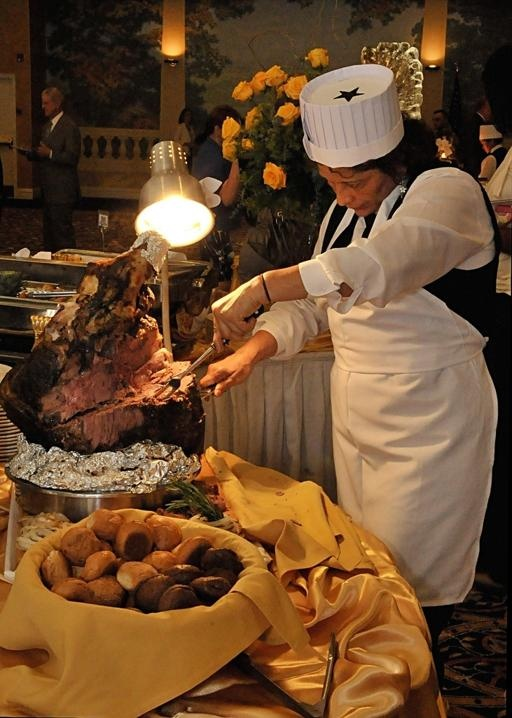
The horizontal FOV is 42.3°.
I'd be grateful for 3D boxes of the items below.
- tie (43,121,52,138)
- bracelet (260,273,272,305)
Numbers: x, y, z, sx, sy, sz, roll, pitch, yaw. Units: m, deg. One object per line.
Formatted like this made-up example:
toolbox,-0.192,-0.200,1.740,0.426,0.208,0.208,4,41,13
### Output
tie,-1.987,-2.188,6.342,0.036,0.126,0.105,4,2,-36
bracelet,0.018,-0.124,1.187,0.017,0.053,0.038,-4,11,-3
